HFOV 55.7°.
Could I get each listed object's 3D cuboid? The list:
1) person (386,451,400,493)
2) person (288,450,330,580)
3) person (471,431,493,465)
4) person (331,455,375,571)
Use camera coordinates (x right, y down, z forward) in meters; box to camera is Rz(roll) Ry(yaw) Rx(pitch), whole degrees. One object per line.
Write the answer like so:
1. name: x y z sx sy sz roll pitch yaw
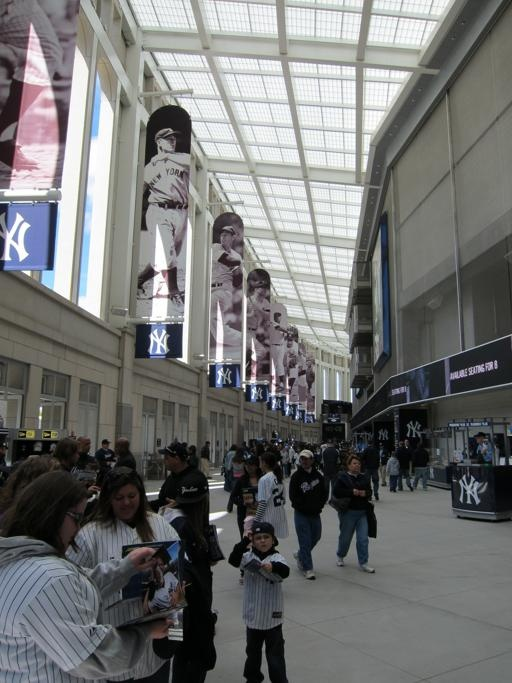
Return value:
1. person: 5.583 5.214 19.493 0.438 1.549 0.953 -3 -13 17
2. person: 0.787 2.558 7.307 0.558 1.821 1.011 -1 -12 8
3. person: 6.562 3.061 13.926 0.431 0.536 1.232 -27 -39 13
4. person: 1.566 2.705 7.767 0.659 1.739 0.951 -2 -12 11
